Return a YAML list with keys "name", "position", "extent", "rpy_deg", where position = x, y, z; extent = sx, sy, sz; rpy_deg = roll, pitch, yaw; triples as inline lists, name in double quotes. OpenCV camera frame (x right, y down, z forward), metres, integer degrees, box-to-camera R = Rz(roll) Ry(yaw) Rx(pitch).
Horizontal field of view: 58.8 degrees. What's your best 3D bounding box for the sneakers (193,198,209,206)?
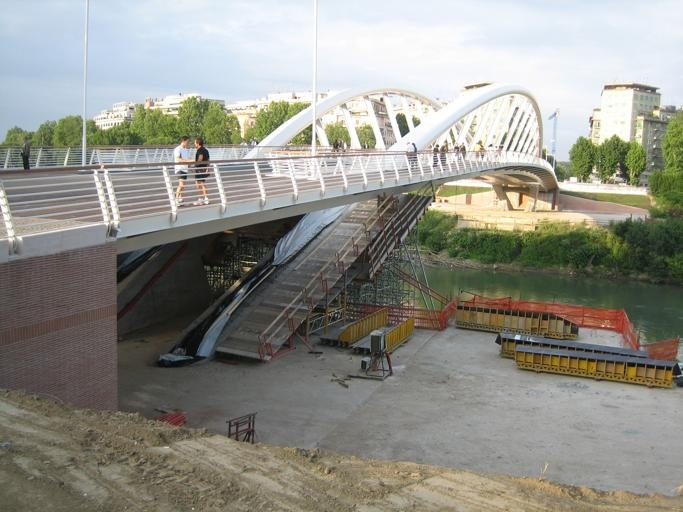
- name: "sneakers"
  position: [-3.750, -1.438, 16.218]
  extent: [0.620, 0.274, 0.212]
  rpy_deg: [7, 9, 42]
